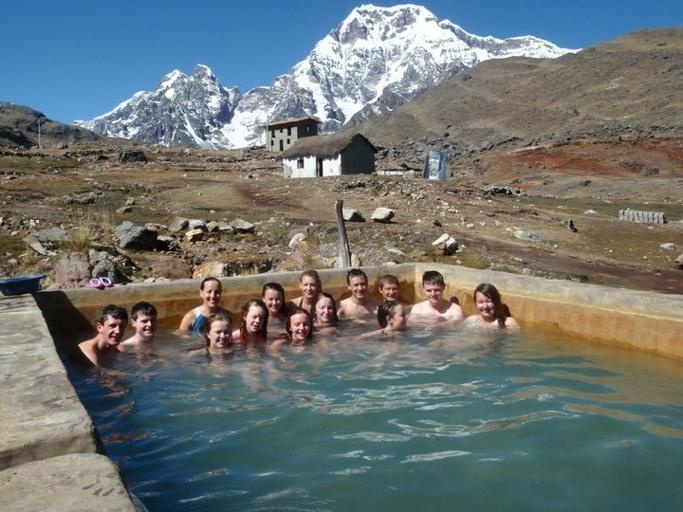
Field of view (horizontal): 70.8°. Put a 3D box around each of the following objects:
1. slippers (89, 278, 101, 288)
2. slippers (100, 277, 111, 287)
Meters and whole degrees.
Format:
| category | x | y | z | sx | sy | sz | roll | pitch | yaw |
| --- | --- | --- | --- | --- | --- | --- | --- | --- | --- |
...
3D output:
| category | x | y | z | sx | sy | sz | roll | pitch | yaw |
| --- | --- | --- | --- | --- | --- | --- | --- | --- | --- |
| slippers | -3.378 | 0.371 | 6.522 | 0.145 | 0.087 | 0.259 | -5 | 11 | -24 |
| slippers | -3.248 | 0.363 | 6.587 | 0.120 | 0.088 | 0.269 | 6 | 13 | -14 |
